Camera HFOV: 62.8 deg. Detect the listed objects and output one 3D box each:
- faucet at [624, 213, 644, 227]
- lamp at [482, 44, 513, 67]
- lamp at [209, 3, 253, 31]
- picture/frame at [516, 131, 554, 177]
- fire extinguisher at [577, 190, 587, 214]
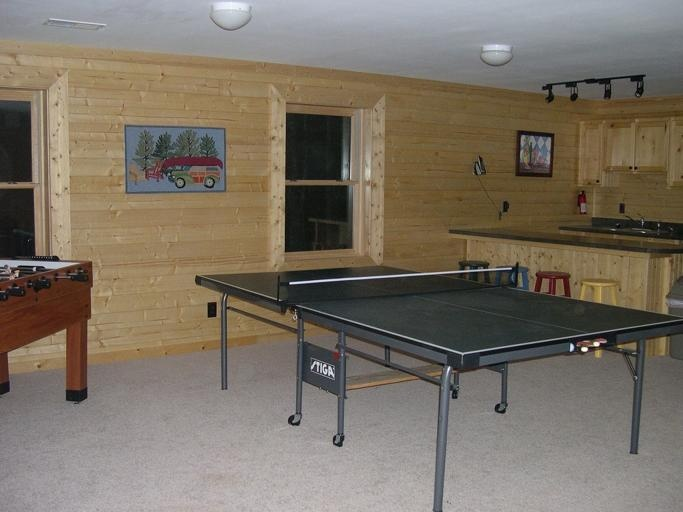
[{"bbox_3d":[4.365,-0.518,8.340,0.072,0.173,0.290,-11,15,-42],"label":"faucet"},{"bbox_3d":[1.403,-1.821,5.089,0.266,0.149,0.214,2,10,5],"label":"lamp"},{"bbox_3d":[-0.778,-1.681,3.947,0.291,0.156,0.199,-1,11,-8],"label":"lamp"},{"bbox_3d":[2.658,-1.433,7.796,1.019,0.580,0.044,-1,8,-30],"label":"picture/frame"},{"bbox_3d":[3.619,-0.800,8.412,0.231,0.371,0.116,-11,18,-44],"label":"fire extinguisher"}]
